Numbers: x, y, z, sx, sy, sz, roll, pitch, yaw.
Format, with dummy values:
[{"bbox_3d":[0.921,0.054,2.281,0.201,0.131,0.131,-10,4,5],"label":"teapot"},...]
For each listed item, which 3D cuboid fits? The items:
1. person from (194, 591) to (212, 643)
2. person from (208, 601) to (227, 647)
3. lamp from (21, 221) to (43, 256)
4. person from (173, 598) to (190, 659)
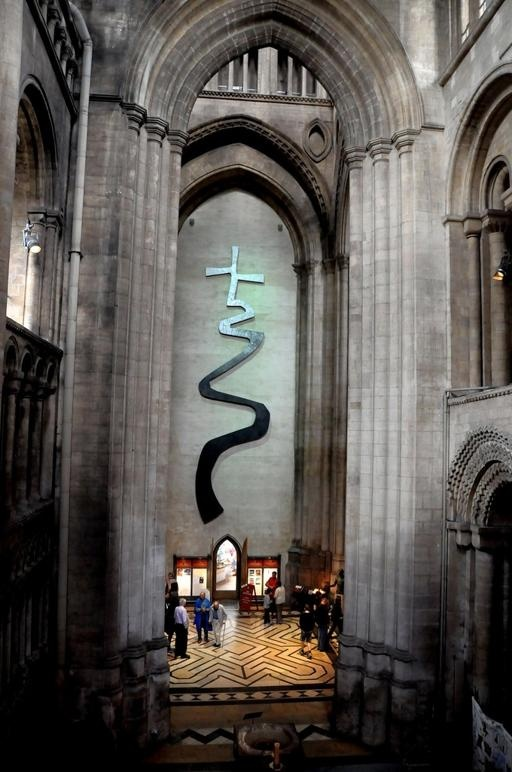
[{"bbox_3d":[-1.087,4.605,16.804,0.317,0.959,0.299,0,13,-11],"label":"person"},{"bbox_3d":[-0.781,4.621,16.632,0.312,0.919,1.069,1,2,-3],"label":"person"},{"bbox_3d":[-3.001,-1.953,11.100,0.188,0.485,0.628,4,26,-27],"label":"lamp"},{"bbox_3d":[-1.408,4.516,15.575,0.272,1.020,0.740,1,2,-6],"label":"person"}]
